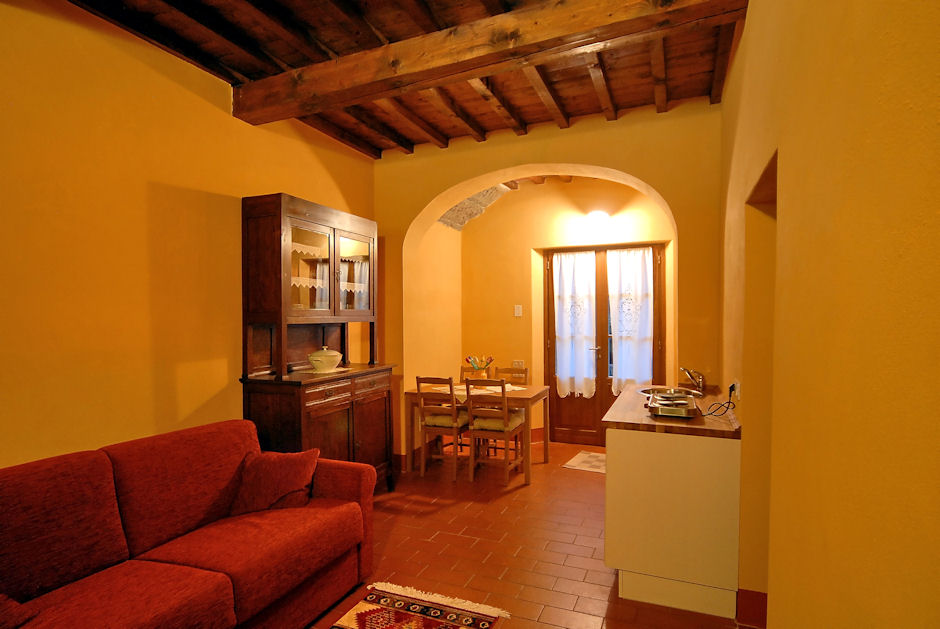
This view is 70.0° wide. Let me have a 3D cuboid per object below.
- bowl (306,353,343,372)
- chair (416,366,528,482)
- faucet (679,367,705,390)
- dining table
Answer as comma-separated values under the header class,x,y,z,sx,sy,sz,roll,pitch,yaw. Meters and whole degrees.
class,x,y,z,sx,sy,sz,roll,pitch,yaw
bowl,-1.100,0.356,5.059,0.168,0.107,0.169,-2,-2,0
chair,-0.007,0.979,5.932,0.958,0.914,0.719,1,8,3
faucet,1.637,0.490,4.913,0.195,0.157,0.383,3,7,17
dining table,0.162,1.283,6.171,1.421,0.907,0.773,-2,-4,20
